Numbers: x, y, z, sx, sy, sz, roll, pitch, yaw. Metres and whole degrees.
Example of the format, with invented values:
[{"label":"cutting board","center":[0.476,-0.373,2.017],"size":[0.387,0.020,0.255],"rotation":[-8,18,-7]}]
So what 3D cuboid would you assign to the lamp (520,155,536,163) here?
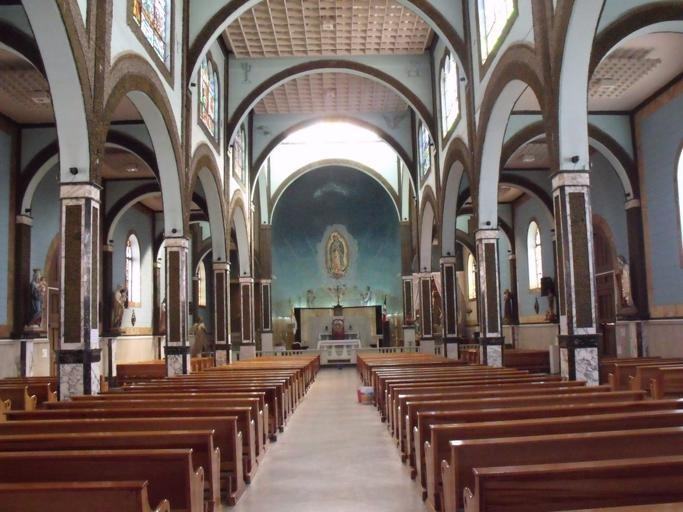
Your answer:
[{"label":"lamp","center":[6.187,-3.233,21.850],"size":[0.449,0.255,1.340],"rotation":[-5,1,16]}]

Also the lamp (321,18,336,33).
[{"label":"lamp","center":[-0.371,-6.512,18.531],"size":[0.238,0.213,0.261],"rotation":[3,-33,4]}]

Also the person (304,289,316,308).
[{"label":"person","center":[-1.668,2.289,34.748],"size":[0.712,1.549,0.202],"rotation":[-2,-24,-1]}]

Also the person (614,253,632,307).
[{"label":"person","center":[7.904,0.724,18.506],"size":[0.277,1.220,1.641],"rotation":[-4,1,18]}]

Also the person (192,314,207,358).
[{"label":"person","center":[-6.499,3.661,29.945],"size":[0.576,1.731,0.484],"rotation":[0,27,-28]}]
